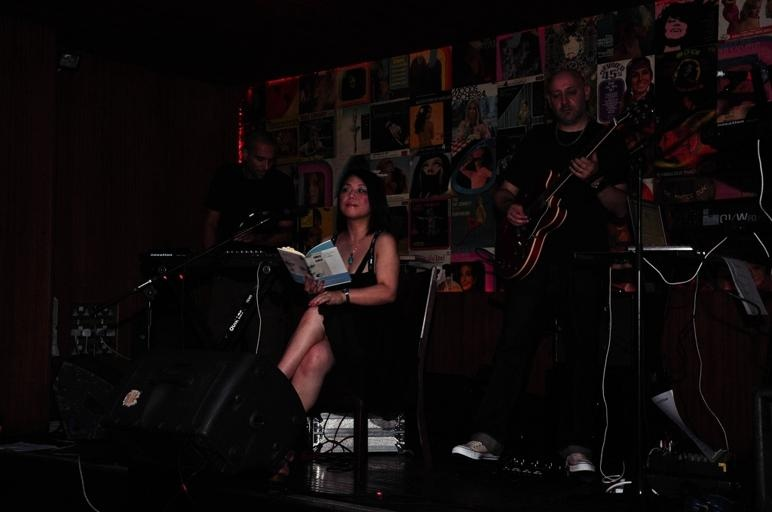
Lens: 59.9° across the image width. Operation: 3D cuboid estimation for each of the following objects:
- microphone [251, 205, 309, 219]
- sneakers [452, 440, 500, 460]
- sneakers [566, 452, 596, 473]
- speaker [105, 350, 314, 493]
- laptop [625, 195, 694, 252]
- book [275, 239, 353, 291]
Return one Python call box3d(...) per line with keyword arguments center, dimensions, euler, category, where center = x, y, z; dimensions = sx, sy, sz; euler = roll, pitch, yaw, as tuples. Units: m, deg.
box3d(center=(-0.634, -0.255, 3.991), dimensions=(0.177, 0.060, 0.341), euler=(0, -3, -40), category="microphone")
box3d(center=(0.529, 1.124, 3.932), dimensions=(0.267, 0.104, 0.114), euler=(16, -19, -25), category="sneakers")
box3d(center=(1.079, 1.135, 3.679), dimensions=(0.084, 0.063, 0.156), euler=(-2, -17, -12), category="sneakers")
box3d(center=(-0.743, 0.651, 2.875), dimensions=(0.736, 0.501, 0.579), euler=(-5, -12, 36), category="speaker")
box3d(center=(1.566, -0.177, 3.827), dimensions=(0.415, 0.300, 0.341), euler=(-1, 1, -36), category="laptop")
box3d(center=(-0.404, 0.073, 3.588), dimensions=(0.407, 0.234, 0.117), euler=(-5, -28, -47), category="book")
